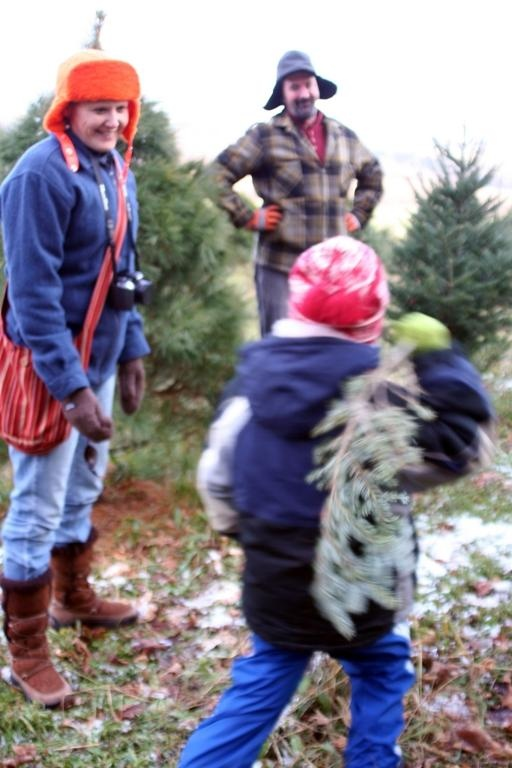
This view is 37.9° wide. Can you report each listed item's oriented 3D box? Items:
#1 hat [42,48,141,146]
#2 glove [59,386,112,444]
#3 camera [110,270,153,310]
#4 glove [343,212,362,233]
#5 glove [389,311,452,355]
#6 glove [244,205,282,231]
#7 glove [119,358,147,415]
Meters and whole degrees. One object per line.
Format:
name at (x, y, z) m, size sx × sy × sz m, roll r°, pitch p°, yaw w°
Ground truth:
hat at (-0.560, -0.926, 2.514) m, size 0.288 × 0.213 × 0.317 m, roll -6°, pitch 5°, yaw -33°
glove at (-0.543, 0.100, 2.453) m, size 0.145 × 0.075 × 0.183 m, roll -26°, pitch -54°, yaw 23°
camera at (-0.454, -0.336, 2.712) m, size 0.113 × 0.107 × 0.169 m, roll 5°, pitch 17°, yaw 2°
glove at (0.591, -1.001, 4.633) m, size 0.109 × 0.128 × 0.048 m, roll -21°, pitch 22°, yaw -32°
glove at (0.370, -0.121, 1.713) m, size 0.143 × 0.098 × 0.140 m, roll 4°, pitch -3°, yaw 29°
glove at (0.025, -0.940, 4.189) m, size 0.212 × 0.116 × 0.063 m, roll 7°, pitch -3°, yaw -29°
glove at (-0.517, 0.002, 3.130) m, size 0.124 × 0.220 × 0.072 m, roll -11°, pitch 22°, yaw -28°
